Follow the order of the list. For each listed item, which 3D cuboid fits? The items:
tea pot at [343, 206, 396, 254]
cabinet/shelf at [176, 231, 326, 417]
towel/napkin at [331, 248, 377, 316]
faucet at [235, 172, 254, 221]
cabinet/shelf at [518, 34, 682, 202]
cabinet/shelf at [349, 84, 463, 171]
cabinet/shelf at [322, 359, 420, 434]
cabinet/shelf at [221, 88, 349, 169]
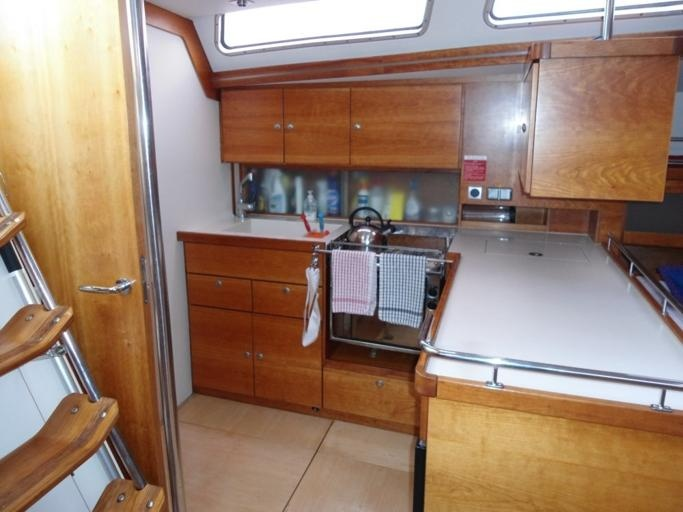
[{"bbox_3d":[0.162,-0.167,3.085,0.344,0.316,0.233,3,13,3],"label":"tea pot"},{"bbox_3d":[-0.451,0.361,3.250,0.910,1.044,0.490,5,12,18],"label":"cabinet/shelf"},{"bbox_3d":[0.065,0.138,2.770,0.321,0.420,0.059,6,18,20],"label":"towel/napkin"},{"bbox_3d":[-0.674,-0.414,3.534,0.116,0.320,0.196,2,13,-7],"label":"faucet"},{"bbox_3d":[1.004,-0.514,2.260,0.553,0.783,0.808,5,22,17],"label":"cabinet/shelf"},{"bbox_3d":[0.404,-0.658,3.167,0.781,0.549,0.447,4,12,18],"label":"cabinet/shelf"},{"bbox_3d":[0.300,0.901,3.085,0.672,0.317,0.461,-1,-22,38],"label":"cabinet/shelf"},{"bbox_3d":[-0.314,-0.841,3.356,0.936,0.457,0.343,5,14,20],"label":"cabinet/shelf"}]
